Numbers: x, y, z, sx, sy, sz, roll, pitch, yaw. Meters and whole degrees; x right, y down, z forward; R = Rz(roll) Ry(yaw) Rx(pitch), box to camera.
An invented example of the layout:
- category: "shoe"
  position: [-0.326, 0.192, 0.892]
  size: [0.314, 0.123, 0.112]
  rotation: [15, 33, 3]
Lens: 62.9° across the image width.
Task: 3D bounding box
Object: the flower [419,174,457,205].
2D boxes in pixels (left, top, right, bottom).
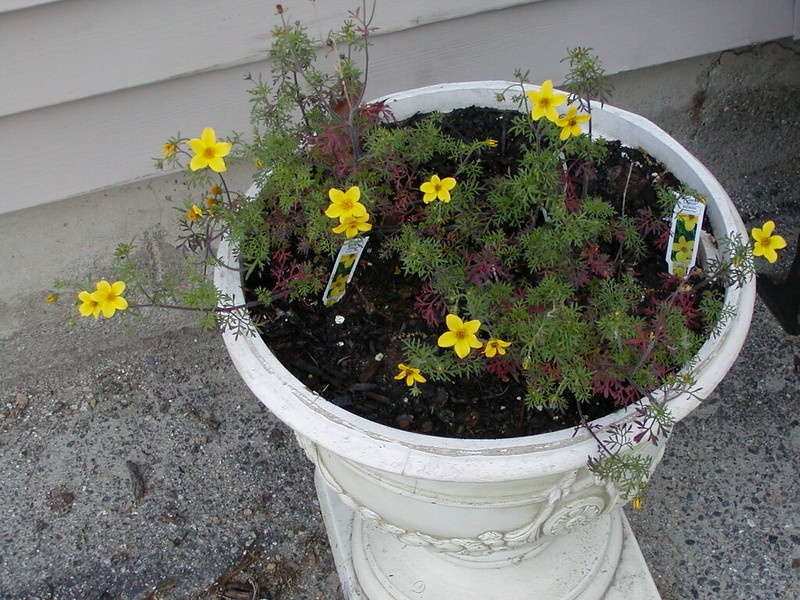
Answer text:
- category: "flower"
  position: [0.113, -0.322, 2.026]
  size: [0.083, 0.100, 0.090]
  rotation: [27, 66, 15]

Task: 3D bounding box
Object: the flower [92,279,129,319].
- category: "flower"
  position: [-0.835, -0.013, 1.873]
  size: [0.097, 0.111, 0.031]
  rotation: [-29, 46, 10]

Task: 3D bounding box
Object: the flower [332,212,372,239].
- category: "flower"
  position: [-0.149, -0.230, 1.984]
  size: [0.082, 0.086, 0.025]
  rotation: [-24, 25, 13]

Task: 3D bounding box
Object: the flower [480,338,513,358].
- category: "flower"
  position: [0.273, 0.145, 1.889]
  size: [0.063, 0.102, 0.049]
  rotation: [-8, 61, -2]

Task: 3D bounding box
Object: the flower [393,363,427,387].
- category: "flower"
  position: [0.021, 0.223, 2.015]
  size: [0.079, 0.048, 0.099]
  rotation: [9, 45, -10]
